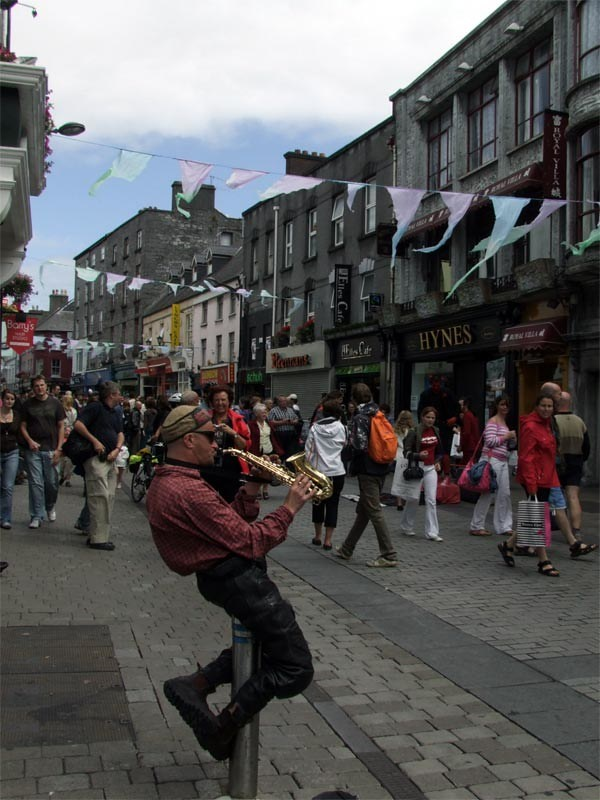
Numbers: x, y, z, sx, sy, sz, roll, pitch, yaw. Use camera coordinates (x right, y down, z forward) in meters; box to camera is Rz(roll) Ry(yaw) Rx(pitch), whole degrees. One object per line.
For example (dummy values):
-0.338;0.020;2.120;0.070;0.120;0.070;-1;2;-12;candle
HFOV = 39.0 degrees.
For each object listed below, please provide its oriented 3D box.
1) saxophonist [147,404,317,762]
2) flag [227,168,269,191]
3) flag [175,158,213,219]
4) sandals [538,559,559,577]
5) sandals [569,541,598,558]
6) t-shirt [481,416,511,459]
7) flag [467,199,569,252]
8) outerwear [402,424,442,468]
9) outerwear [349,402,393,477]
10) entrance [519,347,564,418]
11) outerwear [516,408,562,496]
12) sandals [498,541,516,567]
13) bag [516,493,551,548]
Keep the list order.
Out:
-0.290;0.727;3.397;0.657;1.270;0.404;2;-1;-8;saxophonist
-0.615;-2.429;9.272;0.326;0.220;0.665;2;0;-7;flag
-1.198;-2.333;9.415;0.416;0.635;0.078;1;27;-24;flag
2.261;1.550;7.771;0.085;0.091;0.244;-3;-8;-8;sandals
2.887;1.520;8.636;0.194;0.137;0.492;1;0;40;sandals
2.356;0.436;9.958;0.433;0.583;0.530;-2;4;5;t-shirt
2.970;-2.317;11.442;0.274;0.241;1.131;-11;-10;-37;flag
1.485;0.554;10.123;0.544;0.492;0.460;0;-5;-29;outerwear
0.700;0.399;8.388;0.430;0.611;0.407;2;0;4;outerwear
4.796;-0.216;17.855;0.515;1.451;0.829;23;6;1;entrance
2.200;0.502;8.006;0.299;0.604;0.514;2;-1;34;outerwear
1.977;1.478;8.183;0.129;0.304;0.116;-20;0;22;sandals
2.120;1.139;7.766;0.283;0.351;0.267;2;0;14;bag
